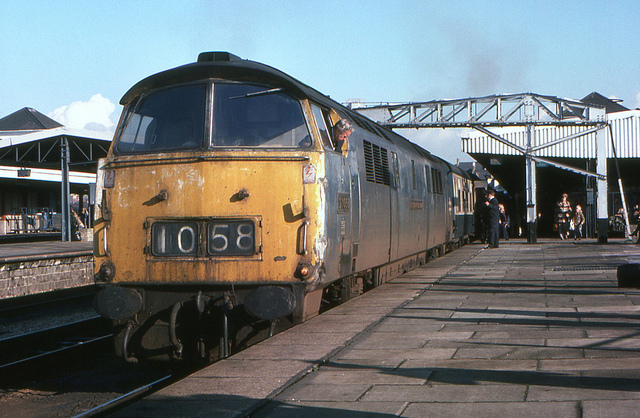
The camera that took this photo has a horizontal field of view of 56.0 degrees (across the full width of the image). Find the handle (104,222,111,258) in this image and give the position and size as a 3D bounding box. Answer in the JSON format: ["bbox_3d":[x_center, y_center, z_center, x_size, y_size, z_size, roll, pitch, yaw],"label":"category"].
[{"bbox_3d":[-3.167,0.445,8.985,0.128,0.506,0.080,-1,3,15],"label":"handle"}]

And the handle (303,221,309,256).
[{"bbox_3d":[-0.201,0.422,8.699,0.048,0.492,0.101,0,3,36],"label":"handle"}]

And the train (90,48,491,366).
[{"bbox_3d":[-0.112,-0.028,11.080,2.948,5.169,7.648,0,3,35],"label":"train"}]
